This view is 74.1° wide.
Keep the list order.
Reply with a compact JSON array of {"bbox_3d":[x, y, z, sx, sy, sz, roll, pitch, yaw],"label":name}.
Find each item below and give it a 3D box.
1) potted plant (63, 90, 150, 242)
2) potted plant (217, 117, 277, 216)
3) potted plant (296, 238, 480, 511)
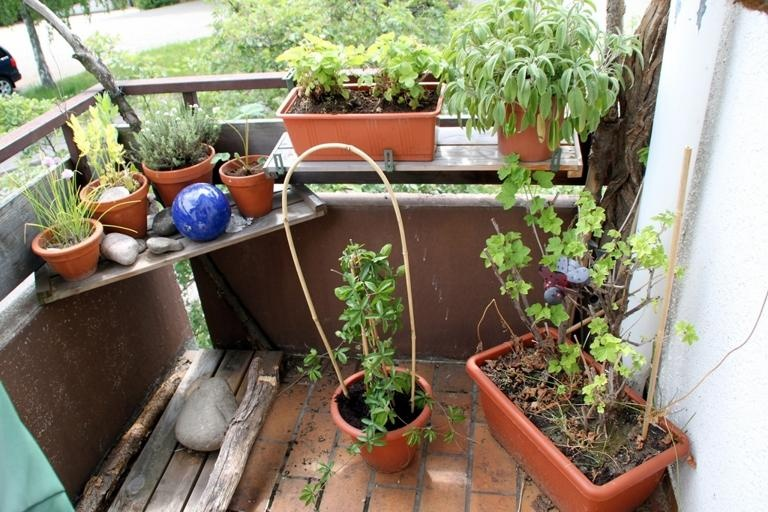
[{"bbox_3d":[-1.461,-0.470,2.667,0.313,0.645,0.614,-22,34,-22],"label":"potted plant"},{"bbox_3d":[-0.691,-0.406,2.642,0.261,0.378,0.316,-31,39,-33],"label":"potted plant"},{"bbox_3d":[-0.096,0.476,2.569,0.949,1.223,0.928,-14,32,-10],"label":"potted plant"}]
